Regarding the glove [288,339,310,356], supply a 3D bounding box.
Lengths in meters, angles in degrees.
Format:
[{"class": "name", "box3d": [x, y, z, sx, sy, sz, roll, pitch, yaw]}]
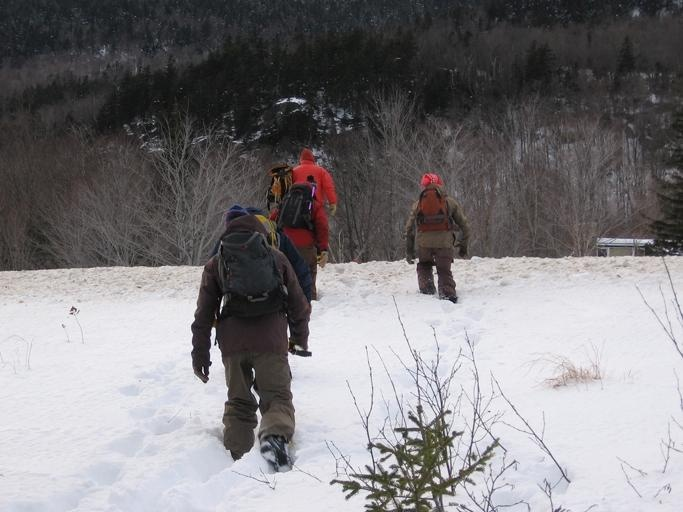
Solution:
[{"class": "glove", "box3d": [-0.827, 1.870, 14.426, 0.370, 0.139, 0.274, 25, -9, -20]}]

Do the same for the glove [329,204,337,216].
[{"class": "glove", "box3d": [-0.222, -1.200, 18.612, 0.182, 0.267, 0.091, 18, -23, -29]}]

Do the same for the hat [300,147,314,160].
[{"class": "hat", "box3d": [-0.907, -2.692, 19.425, 0.435, 0.441, 0.715, 0, 10, -2]}]

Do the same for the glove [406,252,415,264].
[{"class": "glove", "box3d": [1.906, 0.038, 19.799, 0.250, 0.246, 0.625, 2, 5, 2]}]
